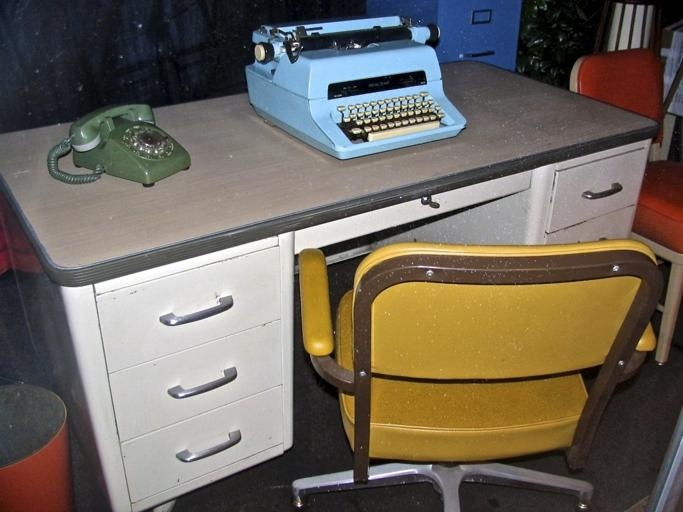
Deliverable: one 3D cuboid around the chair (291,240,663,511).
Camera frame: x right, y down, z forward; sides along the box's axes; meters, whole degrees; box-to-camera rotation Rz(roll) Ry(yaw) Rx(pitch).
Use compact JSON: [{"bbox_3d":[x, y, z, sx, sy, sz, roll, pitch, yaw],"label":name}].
[{"bbox_3d":[0.240,0.122,1.644,0.679,0.897,0.741,-3,44,-3],"label":"chair"}]
